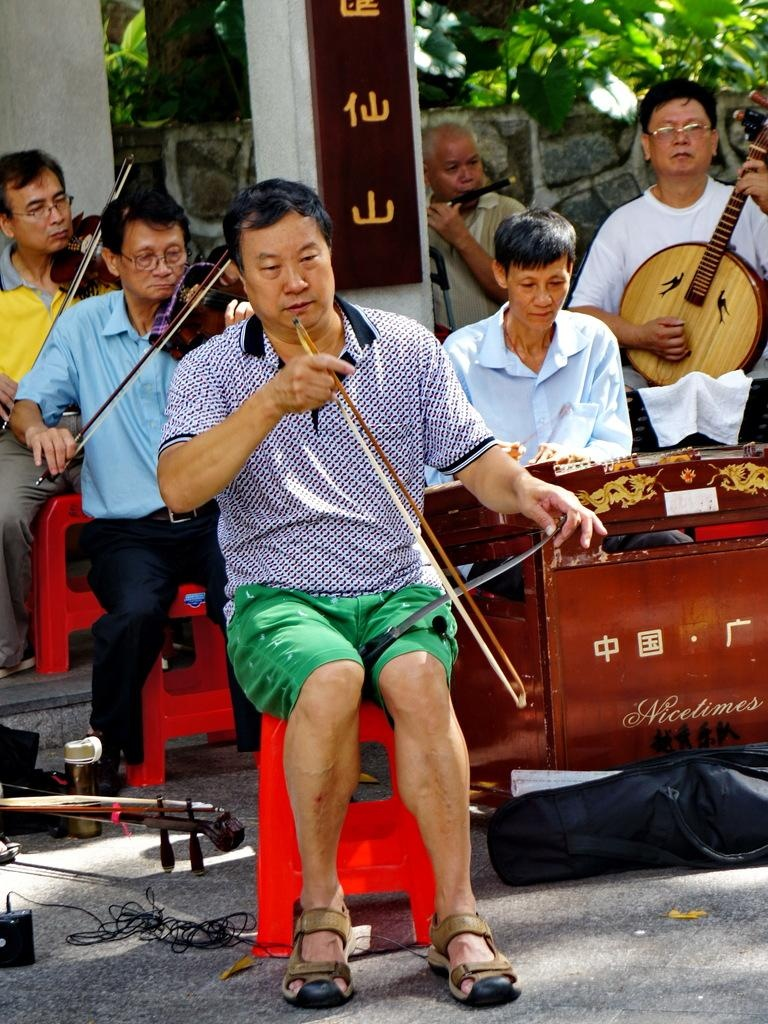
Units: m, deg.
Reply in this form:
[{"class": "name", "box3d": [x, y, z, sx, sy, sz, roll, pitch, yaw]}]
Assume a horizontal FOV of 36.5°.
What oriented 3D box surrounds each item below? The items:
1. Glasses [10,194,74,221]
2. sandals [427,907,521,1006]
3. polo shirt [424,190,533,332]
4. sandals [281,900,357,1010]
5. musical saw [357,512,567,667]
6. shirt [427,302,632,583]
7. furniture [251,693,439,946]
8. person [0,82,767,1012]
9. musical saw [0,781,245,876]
[{"class": "Glasses", "box3d": [-1.199, -1.058, 4.134, 0.143, 0.041, 0.141, -10, 8, 45]}, {"class": "sandals", "box3d": [0.146, 0.753, 1.986, 0.098, 0.072, 0.188, -1, 0, -18]}, {"class": "polo shirt", "box3d": [0.593, -1.249, 5.806, 0.239, 0.601, 0.448, -24, 37, -2]}, {"class": "sandals", "box3d": [-0.117, 0.759, 1.994, 0.125, 0.144, 0.137, -5, 5, -4]}, {"class": "musical saw", "box3d": [0.070, 0.188, 2.106, 0.071, 0.461, 0.035, 31, 46, -17]}, {"class": "shirt", "box3d": [0.366, -0.190, 3.207, 0.669, 0.689, 0.382, -5, 21, -25]}, {"class": "furniture", "box3d": [-0.066, 0.629, 2.440, 0.515, 0.504, 0.458, -2, -8, -8]}, {"class": "person", "box3d": [-0.036, 0.083, 2.210, 0.791, 1.464, 0.764, -4, 6, 17]}, {"class": "musical saw", "box3d": [-0.620, 0.746, 2.698, 0.781, 0.070, 0.190, 5, 34, 11]}]
